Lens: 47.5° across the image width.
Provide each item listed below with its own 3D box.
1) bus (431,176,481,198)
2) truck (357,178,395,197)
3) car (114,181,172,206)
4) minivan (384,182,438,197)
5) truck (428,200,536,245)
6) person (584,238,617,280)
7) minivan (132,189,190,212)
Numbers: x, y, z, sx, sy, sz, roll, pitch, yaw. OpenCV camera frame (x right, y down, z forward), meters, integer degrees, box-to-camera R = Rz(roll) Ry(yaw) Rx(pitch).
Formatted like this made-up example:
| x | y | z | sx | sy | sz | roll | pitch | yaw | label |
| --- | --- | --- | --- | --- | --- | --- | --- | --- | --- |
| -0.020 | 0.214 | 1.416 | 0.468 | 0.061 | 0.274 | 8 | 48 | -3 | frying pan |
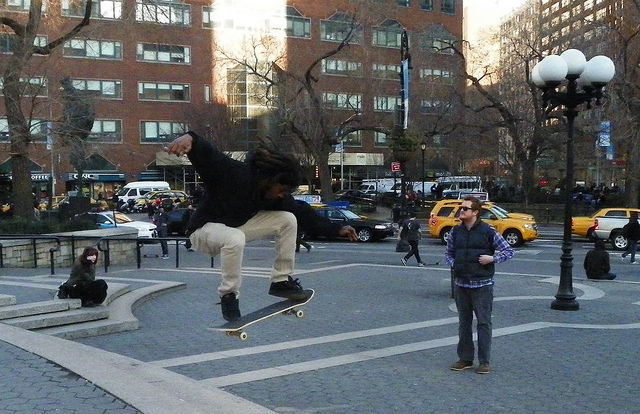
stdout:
| x | y | z | sx | sy | sz | roll | pitch | yaw | label |
| --- | --- | --- | --- | --- | --- | --- | --- | --- | --- |
| 11.340 | -1.898 | 63.818 | 4.607 | 2.008 | 2.434 | 1 | 2 | -3 | bus |
| 4.873 | -1.835 | 66.847 | 3.407 | 1.435 | 1.774 | 1 | 3 | 14 | truck |
| -13.980 | -1.099 | 56.697 | 1.983 | 1.703 | 4.514 | 0 | 0 | 40 | car |
| 8.063 | -1.381 | 63.934 | 3.782 | 1.450 | 1.857 | 0 | 3 | -6 | minivan |
| 7.812 | 0.674 | 34.719 | 5.999 | 2.144 | 2.594 | 0 | 1 | 18 | truck |
| 9.234 | 1.769 | 24.496 | 1.153 | 1.201 | 0.874 | -3 | -2 | -26 | person |
| -11.930 | -0.488 | 54.347 | 3.619 | 1.596 | 5.526 | -2 | 2 | -22 | minivan |
